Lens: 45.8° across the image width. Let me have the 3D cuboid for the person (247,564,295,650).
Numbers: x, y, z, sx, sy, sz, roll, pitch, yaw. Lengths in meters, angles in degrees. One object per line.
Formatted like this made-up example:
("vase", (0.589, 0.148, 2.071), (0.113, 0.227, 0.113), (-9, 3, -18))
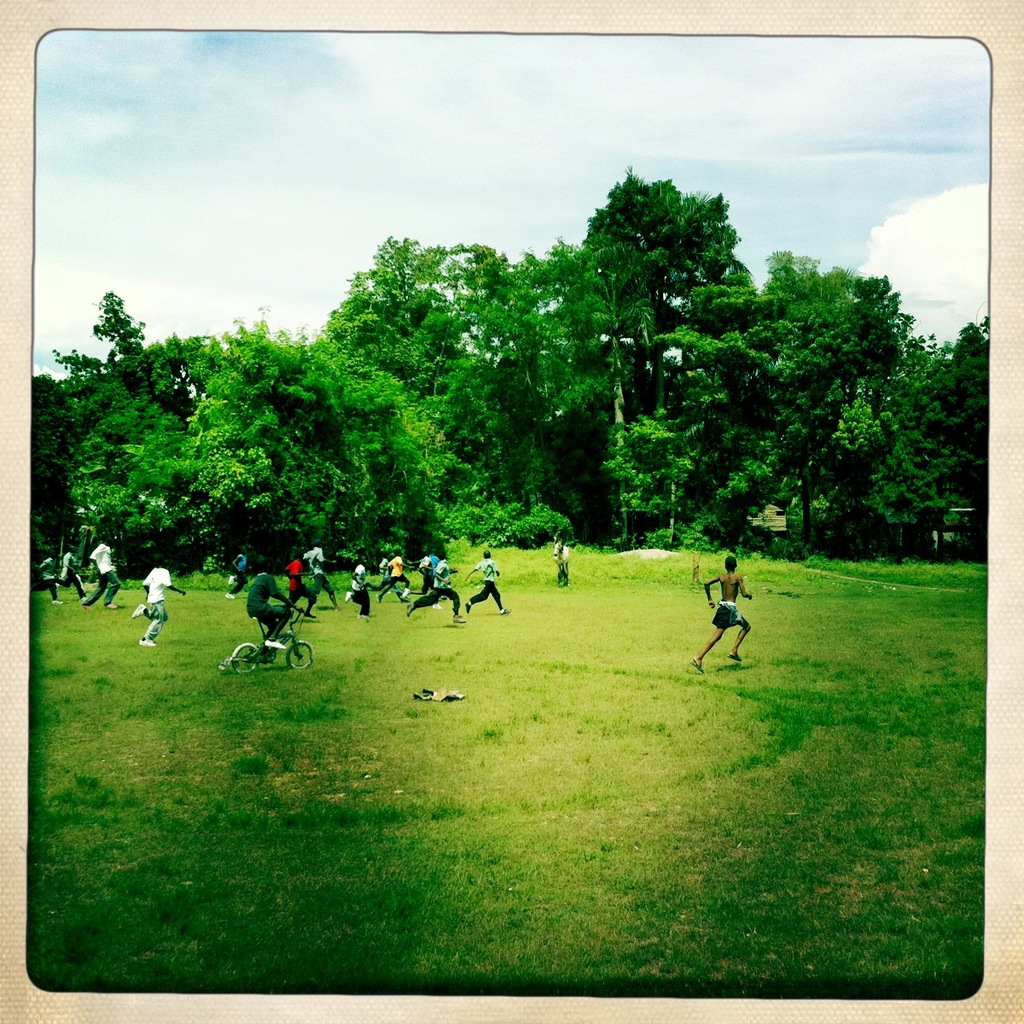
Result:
("person", (-3.264, 1.307, 16.486), (0.633, 1.133, 0.508), (4, -16, -38))

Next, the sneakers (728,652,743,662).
("sneakers", (3.479, 2.293, 18.956), (0.281, 0.197, 0.093), (-8, 16, -44))

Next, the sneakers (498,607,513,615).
("sneakers", (-0.157, 1.804, 21.523), (0.237, 0.085, 0.172), (-11, -9, 26))

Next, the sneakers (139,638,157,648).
("sneakers", (-5.567, 2.018, 18.486), (0.325, 0.147, 0.113), (1, -1, 28))

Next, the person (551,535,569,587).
("person", (0.926, 1.023, 22.972), (0.286, 0.809, 0.545), (0, 0, 1))

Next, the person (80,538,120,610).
("person", (-7.112, 1.101, 20.909), (0.543, 1.077, 1.721), (0, 0, -19))

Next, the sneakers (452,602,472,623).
("sneakers", (-0.907, 1.815, 20.912), (0.154, 0.207, 0.472), (3, 5, 13))
